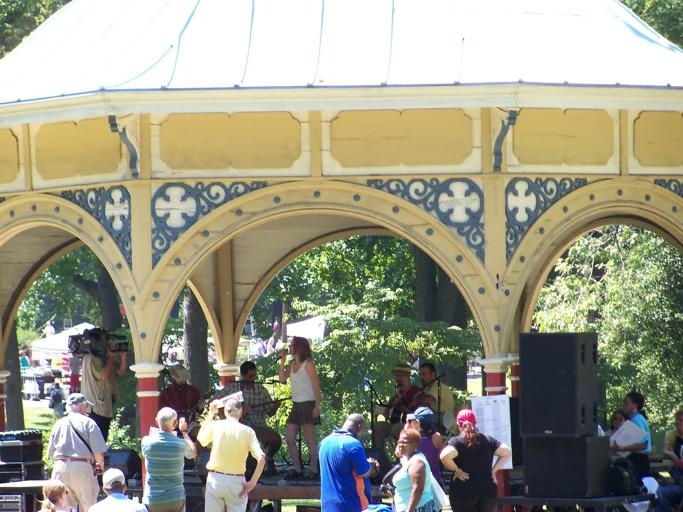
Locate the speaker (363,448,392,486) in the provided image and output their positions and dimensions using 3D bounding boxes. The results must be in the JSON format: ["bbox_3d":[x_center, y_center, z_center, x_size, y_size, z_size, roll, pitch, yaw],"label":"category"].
[{"bbox_3d":[0.560,2.955,27.764,0.405,0.809,0.420,-1,1,11],"label":"speaker"}]

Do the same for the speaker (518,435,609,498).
[{"bbox_3d":[3.060,2.827,26.256,1.113,0.829,0.621,-3,-8,42],"label":"speaker"}]

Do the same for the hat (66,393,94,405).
[{"bbox_3d":[-3.498,1.935,26.809,0.378,0.145,0.245,3,-1,-31],"label":"hat"}]

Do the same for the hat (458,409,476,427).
[{"bbox_3d":[1.643,2.098,25.697,0.175,0.212,0.218,-1,5,-5],"label":"hat"}]

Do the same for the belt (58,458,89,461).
[{"bbox_3d":[-3.606,2.733,26.629,0.382,0.068,0.082,1,-6,-17],"label":"belt"}]

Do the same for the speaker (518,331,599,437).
[{"bbox_3d":[2.883,1.690,26.081,1.021,1.374,0.465,-1,-6,4],"label":"speaker"}]

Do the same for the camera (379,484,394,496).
[{"bbox_3d":[0.625,3.102,26.172,0.164,0.094,0.235,22,-32,-7],"label":"camera"}]

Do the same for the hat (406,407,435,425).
[{"bbox_3d":[1.069,2.092,25.965,0.273,0.145,0.197,5,-5,4],"label":"hat"}]
